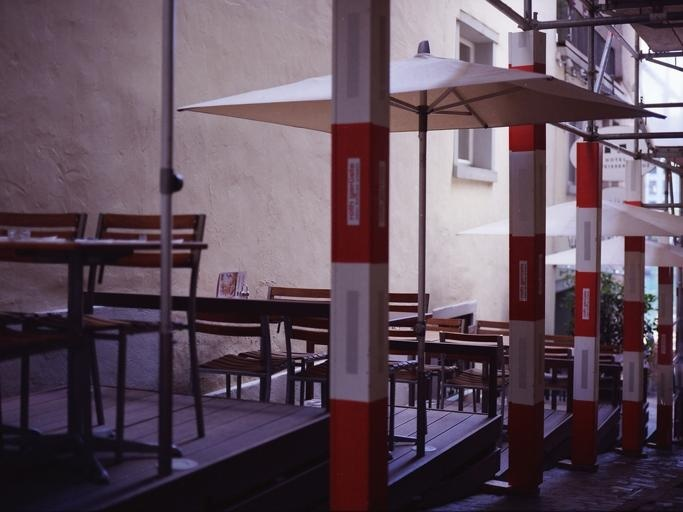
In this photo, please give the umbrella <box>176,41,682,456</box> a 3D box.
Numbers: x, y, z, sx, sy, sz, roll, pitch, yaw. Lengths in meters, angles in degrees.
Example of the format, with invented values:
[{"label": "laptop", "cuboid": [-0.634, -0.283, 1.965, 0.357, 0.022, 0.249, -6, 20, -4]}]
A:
[{"label": "umbrella", "cuboid": [0.710, -0.708, 6.674, 3.369, 3.187, 3.332, 0, 0, 45]}]
